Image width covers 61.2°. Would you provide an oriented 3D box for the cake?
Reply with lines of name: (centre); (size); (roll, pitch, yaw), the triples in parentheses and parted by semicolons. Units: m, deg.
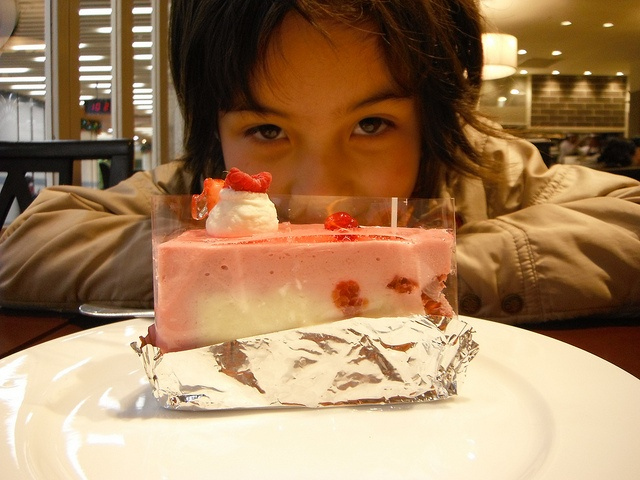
cake: (-0.018, 0.038, 1.293); (0.640, 0.388, 0.340); (-1, 10, -6)
